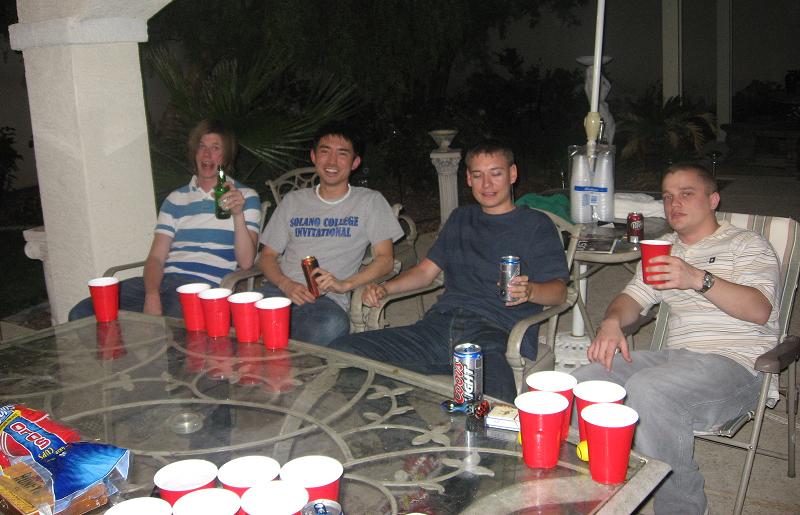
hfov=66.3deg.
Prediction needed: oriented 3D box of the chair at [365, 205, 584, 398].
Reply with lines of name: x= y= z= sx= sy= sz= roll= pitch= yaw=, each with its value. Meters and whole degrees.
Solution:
chair: x=0.396 y=0.162 z=3.495 sx=1.215 sy=0.912 sz=1.094 roll=-12 pitch=19 yaw=-40

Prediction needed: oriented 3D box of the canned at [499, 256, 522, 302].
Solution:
canned: x=0.552 y=0.116 z=3.089 sx=0.098 sy=0.242 sz=0.079 roll=-3 pitch=10 yaw=1

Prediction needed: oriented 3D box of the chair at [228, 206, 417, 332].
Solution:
chair: x=-0.502 y=0.064 z=3.680 sx=0.806 sy=0.907 sz=0.774 roll=9 pitch=12 yaw=31

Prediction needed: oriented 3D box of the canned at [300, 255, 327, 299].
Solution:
canned: x=-0.494 y=0.118 z=3.422 sx=0.094 sy=0.253 sz=0.152 roll=-4 pitch=9 yaw=-3

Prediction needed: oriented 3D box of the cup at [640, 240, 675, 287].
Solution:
cup: x=1.204 y=0.029 z=2.877 sx=0.126 sy=0.206 sz=0.097 roll=-2 pitch=10 yaw=7

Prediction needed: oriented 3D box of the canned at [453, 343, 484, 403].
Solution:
canned: x=0.259 y=0.453 z=2.367 sx=0.114 sy=0.222 sz=0.091 roll=-2 pitch=10 yaw=7

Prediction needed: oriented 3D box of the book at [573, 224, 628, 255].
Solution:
book: x=1.236 y=-0.110 z=3.746 sx=0.252 sy=0.072 sz=0.333 roll=9 pitch=24 yaw=26
